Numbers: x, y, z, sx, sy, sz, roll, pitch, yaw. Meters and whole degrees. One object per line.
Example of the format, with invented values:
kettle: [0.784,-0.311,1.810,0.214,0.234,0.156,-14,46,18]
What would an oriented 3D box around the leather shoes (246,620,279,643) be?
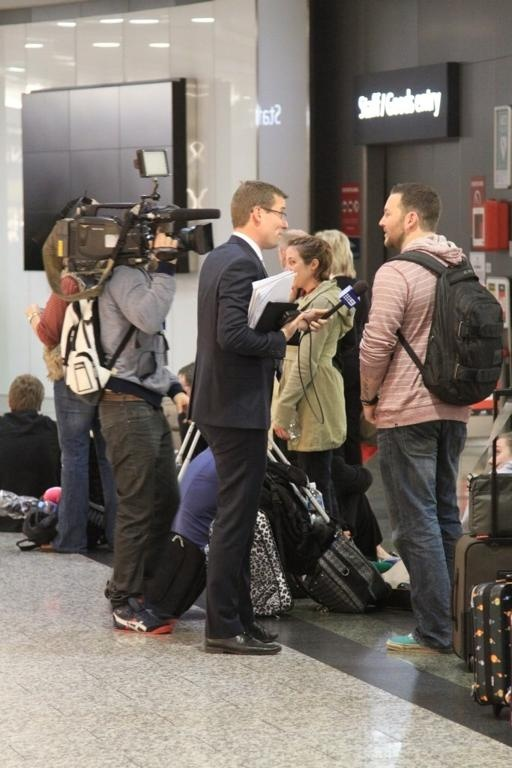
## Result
leather shoes: [0.022,0.933,2.919,0.161,0.062,0.051,4,-2,-9]

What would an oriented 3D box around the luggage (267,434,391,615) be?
luggage: [0.320,0.662,3.690,0.421,0.834,0.384,-17,-9,5]

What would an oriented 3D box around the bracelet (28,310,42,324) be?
bracelet: [-1.392,-0.408,4.919,0.080,0.098,0.040,-2,-10,10]

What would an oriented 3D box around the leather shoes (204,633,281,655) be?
leather shoes: [-0.049,0.929,2.813,0.285,0.109,0.092,0,-5,-2]

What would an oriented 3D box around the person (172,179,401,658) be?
person: [-0.052,0.132,2.772,0.350,1.708,0.424,-2,8,1]

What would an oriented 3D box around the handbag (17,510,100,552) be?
handbag: [-1.246,0.899,4.969,0.400,0.211,0.275,-4,4,-27]

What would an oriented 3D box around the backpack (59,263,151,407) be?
backpack: [-0.745,-0.114,3.448,0.414,0.648,0.496,12,-30,-14]

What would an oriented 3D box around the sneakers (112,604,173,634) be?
sneakers: [-0.455,0.948,3.168,0.271,0.106,0.095,-1,-4,24]

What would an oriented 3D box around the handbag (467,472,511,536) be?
handbag: [0.720,0.376,2.455,0.088,0.219,0.175,-7,10,-31]
